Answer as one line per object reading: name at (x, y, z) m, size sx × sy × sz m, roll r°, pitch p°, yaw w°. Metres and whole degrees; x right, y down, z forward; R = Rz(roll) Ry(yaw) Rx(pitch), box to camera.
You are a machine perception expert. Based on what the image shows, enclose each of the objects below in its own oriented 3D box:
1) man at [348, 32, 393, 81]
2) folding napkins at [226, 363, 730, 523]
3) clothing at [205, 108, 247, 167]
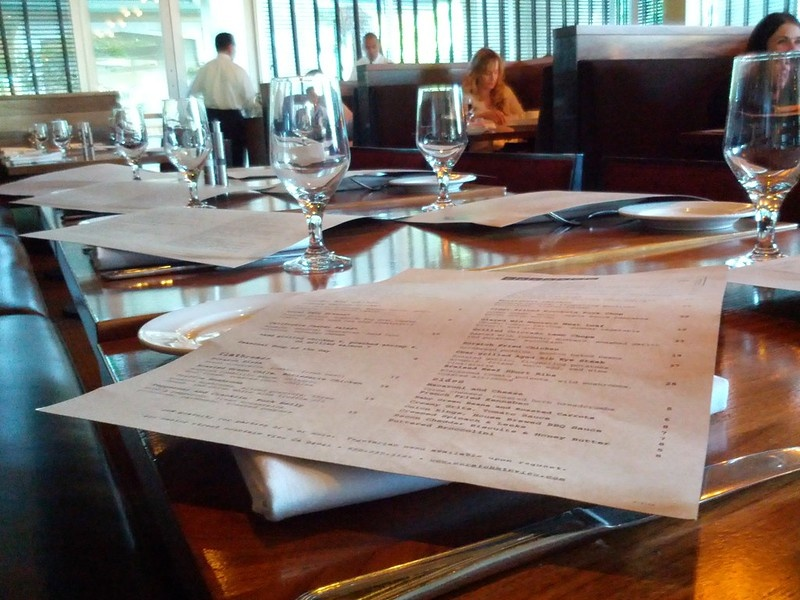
man at (-0.306, -2.995, 7.915) m, size 0.791 × 0.420 × 0.341 m, roll 7°, pitch 22°, yaw 19°
folding napkins at (-0.007, 0.053, 0.280) m, size 0.113 × 0.013 × 0.095 m, roll -5°, pitch 13°, yaw -21°
clothing at (-2.011, -1.823, 7.229) m, size 0.607 × 0.654 × 0.515 m, roll -4°, pitch 17°, yaw -25°
